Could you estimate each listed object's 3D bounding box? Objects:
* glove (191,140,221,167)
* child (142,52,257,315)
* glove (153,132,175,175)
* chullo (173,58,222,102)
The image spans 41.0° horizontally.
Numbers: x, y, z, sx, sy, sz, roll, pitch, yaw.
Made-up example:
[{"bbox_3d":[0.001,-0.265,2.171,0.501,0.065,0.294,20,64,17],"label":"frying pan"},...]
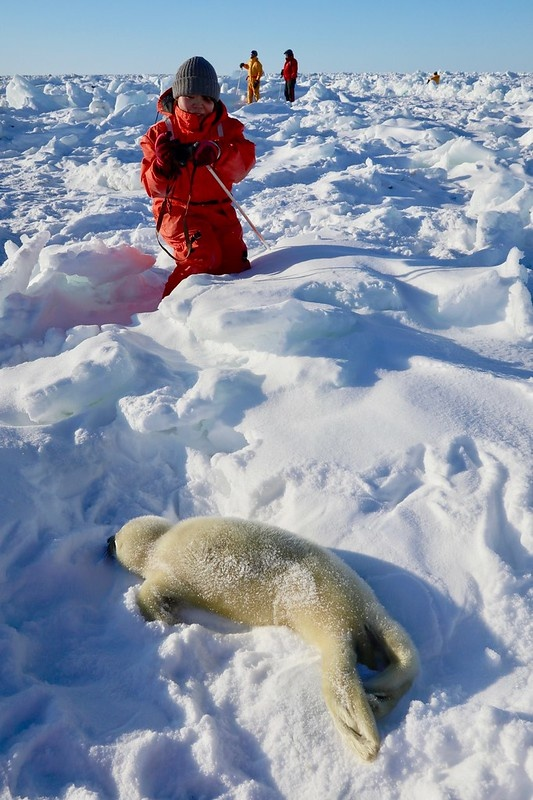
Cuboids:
[{"bbox_3d":[-0.265,-1.063,3.061,0.097,0.049,0.125,-6,0,14],"label":"glove"},{"bbox_3d":[-0.308,-1.038,3.300,0.549,0.994,0.695,-5,23,-9],"label":"child"},{"bbox_3d":[-0.440,-1.090,3.124,0.060,0.166,0.126,15,37,22],"label":"glove"},{"bbox_3d":[-0.310,-1.416,3.143,0.214,0.177,0.205,-5,23,-10],"label":"chullo"}]
